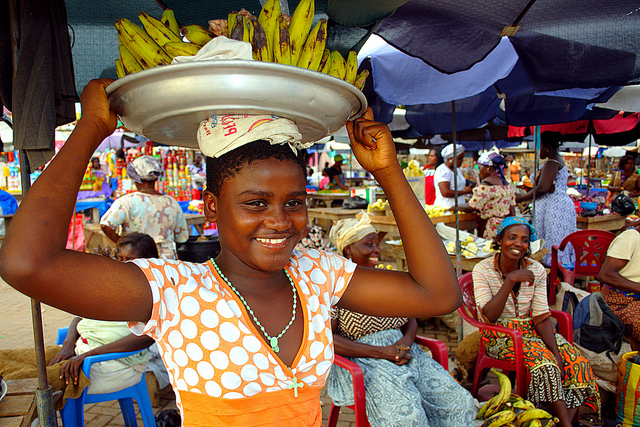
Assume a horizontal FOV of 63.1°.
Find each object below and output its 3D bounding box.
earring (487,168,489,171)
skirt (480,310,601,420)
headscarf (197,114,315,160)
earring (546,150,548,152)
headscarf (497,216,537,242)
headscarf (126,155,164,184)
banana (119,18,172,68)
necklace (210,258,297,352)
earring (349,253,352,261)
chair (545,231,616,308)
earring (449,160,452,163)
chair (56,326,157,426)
[{"bbox_3d":[2.587,-0.716,8.063,0.042,0.017,0.045,0,6,3],"label":"earring"},{"bbox_3d":[1.940,1.371,4.930,0.939,0.883,1.451,-3,-13,-2],"label":"skirt"},{"bbox_3d":[-0.351,-0.387,2.783,0.430,0.246,0.374,3,6,-41],"label":"headscarf"},{"bbox_3d":[3.389,-0.968,7.807,0.026,0.026,0.007,1,-5,7],"label":"earring"},{"bbox_3d":[1.908,0.117,5.015,0.403,0.178,0.256,2,4,-4],"label":"headscarf"},{"bbox_3d":[-2.178,-0.556,6.381,0.417,0.285,0.302,12,7,13],"label":"headscarf"},{"bbox_3d":[-0.945,-0.926,2.809,0.416,0.143,0.127,40,2,18],"label":"banana"},{"bbox_3d":[-0.369,0.506,2.886,0.483,0.472,0.236,1,5,-13],"label":"necklace"},{"bbox_3d":[0.273,0.380,4.752,0.016,0.056,0.058,1,5,-12],"label":"earring"},{"bbox_3d":[3.400,0.728,6.853,0.697,0.940,0.686,4,-4,-7],"label":"chair"},{"bbox_3d":[2.247,-0.940,9.029,0.034,0.047,0.011,-5,-23,10],"label":"earring"},{"bbox_3d":[-1.757,1.413,4.600,0.716,0.974,0.763,-2,3,2],"label":"chair"}]
